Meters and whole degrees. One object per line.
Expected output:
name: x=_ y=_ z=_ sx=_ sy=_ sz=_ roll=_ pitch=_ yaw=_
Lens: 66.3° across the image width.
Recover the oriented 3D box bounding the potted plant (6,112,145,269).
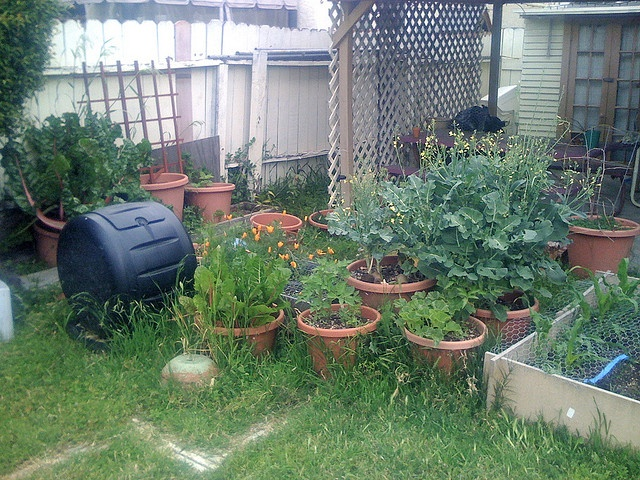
potted plant: x=-2.530 y=-0.438 z=5.236 sx=1.295 sy=1.707 sz=1.507 roll=-4 pitch=12 yaw=-30

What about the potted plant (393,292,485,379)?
potted plant: x=0.807 y=0.639 z=3.424 sx=0.438 sy=0.400 sz=0.530 roll=-2 pitch=15 yaw=-8

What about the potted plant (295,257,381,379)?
potted plant: x=0.087 y=0.550 z=3.627 sx=0.603 sy=0.886 sz=0.719 roll=-4 pitch=14 yaw=-13

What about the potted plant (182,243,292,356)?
potted plant: x=-0.575 y=0.358 z=3.708 sx=0.702 sy=0.814 sz=0.748 roll=14 pitch=17 yaw=22

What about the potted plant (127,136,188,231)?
potted plant: x=-1.757 y=-0.630 z=5.540 sx=0.781 sy=0.707 sz=0.879 roll=8 pitch=24 yaw=9

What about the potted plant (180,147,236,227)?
potted plant: x=-1.354 y=-0.516 z=5.916 sx=0.508 sy=0.405 sz=0.551 roll=1 pitch=15 yaw=3

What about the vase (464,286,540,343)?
vase: x=1.353 y=0.445 z=3.536 sx=0.360 sy=0.290 sz=0.389 roll=4 pitch=20 yaw=35
